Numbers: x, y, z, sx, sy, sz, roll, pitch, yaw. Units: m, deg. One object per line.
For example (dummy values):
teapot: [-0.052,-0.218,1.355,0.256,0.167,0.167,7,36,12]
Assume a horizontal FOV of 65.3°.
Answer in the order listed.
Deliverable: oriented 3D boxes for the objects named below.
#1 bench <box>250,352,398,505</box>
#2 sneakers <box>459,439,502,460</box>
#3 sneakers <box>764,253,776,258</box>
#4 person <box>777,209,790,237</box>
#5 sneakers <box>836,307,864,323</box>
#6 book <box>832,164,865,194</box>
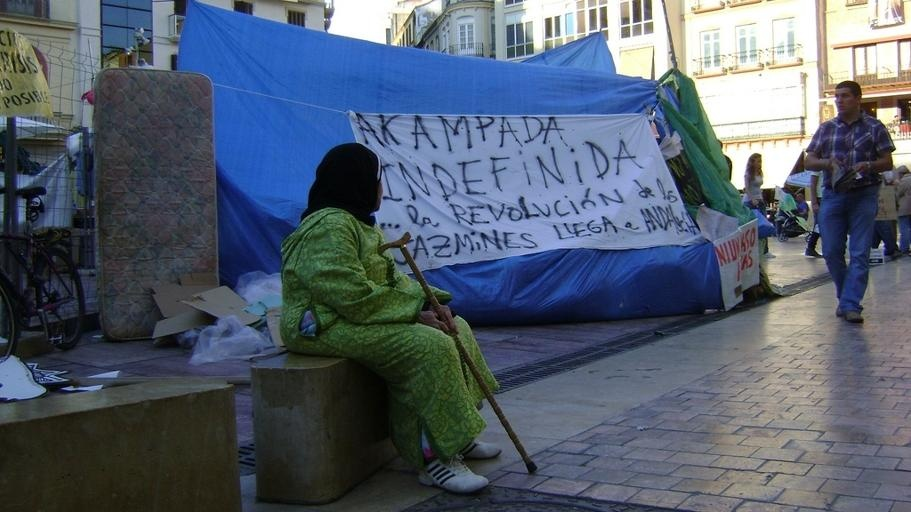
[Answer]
bench: [-0.969,1.141,5.544,0.940,1.020,1.583,-3,-2,21]
sneakers: [0.206,1.541,5.665,0.383,0.141,0.133,-3,7,-1]
sneakers: [7.368,-0.016,16.761,0.202,0.128,0.341,-3,0,-40]
person: [10.522,-1.075,23.026,0.303,0.981,0.433,-1,15,5]
sneakers: [4.879,0.750,8.815,0.145,0.192,0.457,4,-12,-18]
book: [4.921,-0.954,8.913,0.354,0.285,0.104,4,16,23]
